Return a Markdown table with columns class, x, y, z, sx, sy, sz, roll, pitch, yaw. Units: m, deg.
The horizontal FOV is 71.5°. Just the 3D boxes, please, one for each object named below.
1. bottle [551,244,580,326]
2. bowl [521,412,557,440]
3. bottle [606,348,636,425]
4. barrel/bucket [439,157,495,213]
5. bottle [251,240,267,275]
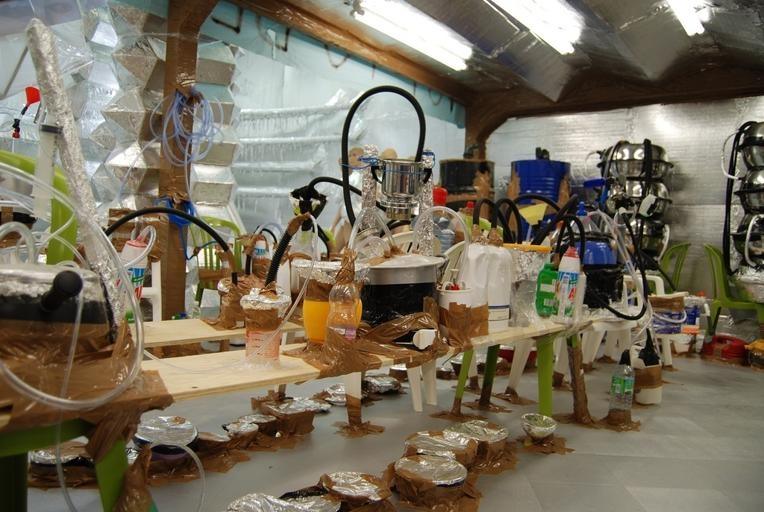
| class | x | y | z | sx | sy | sz | roll | pitch | yaw |
| --- | --- | --- | --- | --- | --- | --- | --- | --- | --- |
| bottle | 1.057 | 0.174 | 3.048 | 0.146 | 0.432 | 0.121 | 3 | 3 | 34 |
| bowl | 0.908 | 1.005 | 3.125 | 0.157 | 0.067 | 0.152 | 0 | 0 | 0 |
| bottle | 1.560 | 0.858 | 3.456 | 0.163 | 0.499 | 0.276 | 3 | 2 | 26 |
| barrel/bucket | 1.031 | -0.821 | 6.629 | 0.698 | 0.730 | 0.715 | 1 | 4 | 0 |
| bottle | -0.657 | 0.017 | 2.878 | 0.096 | 0.201 | 0.106 | 0 | 3 | -35 |
